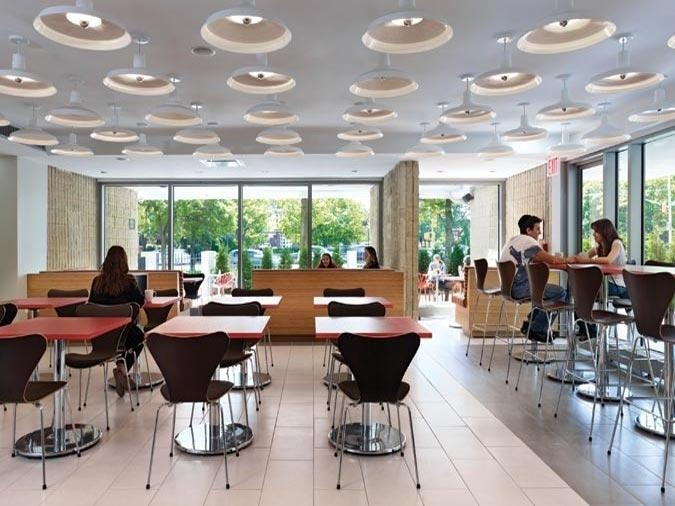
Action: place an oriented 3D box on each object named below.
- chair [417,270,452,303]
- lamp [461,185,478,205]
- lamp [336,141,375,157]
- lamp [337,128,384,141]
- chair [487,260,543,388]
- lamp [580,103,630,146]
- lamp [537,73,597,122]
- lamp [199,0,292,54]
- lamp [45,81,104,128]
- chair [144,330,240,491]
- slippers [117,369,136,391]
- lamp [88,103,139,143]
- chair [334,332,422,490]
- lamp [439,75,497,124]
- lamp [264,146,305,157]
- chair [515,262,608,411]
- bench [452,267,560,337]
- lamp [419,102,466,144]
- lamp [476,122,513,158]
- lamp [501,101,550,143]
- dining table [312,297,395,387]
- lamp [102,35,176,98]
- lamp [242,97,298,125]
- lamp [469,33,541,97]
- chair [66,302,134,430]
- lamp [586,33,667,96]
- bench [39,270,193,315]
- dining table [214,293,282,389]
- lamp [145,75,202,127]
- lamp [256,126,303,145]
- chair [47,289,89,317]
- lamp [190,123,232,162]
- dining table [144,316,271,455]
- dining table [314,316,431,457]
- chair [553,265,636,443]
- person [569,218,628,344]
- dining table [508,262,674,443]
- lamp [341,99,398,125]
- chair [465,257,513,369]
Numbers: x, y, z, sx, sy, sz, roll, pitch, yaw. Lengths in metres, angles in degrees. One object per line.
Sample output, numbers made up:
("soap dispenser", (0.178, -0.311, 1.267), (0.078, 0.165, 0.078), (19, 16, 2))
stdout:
("chair", (2.317, 0.777, 12.614), (0.655, 0.980, 0.753), (-1, -1, 3))
("lamp", (3.182, -1.383, 12.707), (0.318, 0.410, 0.098), (-3, 10, -18))
("lamp", (0.302, -1.706, 8.604), (0.505, 0.212, 0.497), (4, 10, 25))
("lamp", (0.323, -1.692, 7.461), (0.346, 0.100, 0.364), (-3, -6, 16))
("chair", (2.312, 0.802, 6.679), (0.589, 1.636, 0.598), (-14, -17, 21))
("lamp", (3.758, -1.859, 7.393), (0.443, 0.509, 0.448), (3, 15, 43))
("lamp", (2.894, -2.050, 6.690), (0.592, 0.480, 0.598), (-7, 9, -17))
("lamp", (-0.761, -1.881, 4.375), (0.580, 0.335, 0.556), (7, 11, 37))
("lamp", (-3.265, -1.699, 6.396), (0.661, 0.443, 0.692), (-2, 1, 3))
("chair", (-1.344, 1.274, 4.824), (0.812, 1.291, 1.225), (-3, 10, -16))
("slippers", (-2.479, 1.503, 6.163), (0.216, 0.330, 0.110), (-5, 12, -9))
("lamp", (-3.209, -1.972, 7.566), (0.499, 0.588, 0.500), (-3, 19, -21))
("chair", (0.370, 1.265, 4.883), (0.786, 1.295, 1.170), (0, 9, 2))
("lamp", (1.626, -1.966, 6.574), (0.656, 0.555, 0.626), (0, 3, 33))
("lamp", (-0.848, -1.683, 8.659), (0.547, 0.143, 0.982), (0, 9, 0))
("chair", (2.827, 0.907, 6.113), (0.723, 1.718, 0.681), (-4, 7, 29))
("bench", (2.927, 0.970, 9.268), (2.078, 1.595, 1.159), (0, -3, -2))
("lamp", (1.513, -1.813, 7.562), (0.484, 0.532, 0.462), (1, -2, -32))
("lamp", (2.551, -1.854, 8.512), (0.528, 0.604, 0.517), (-1, 2, -36))
("lamp", (2.724, -1.947, 7.668), (0.575, 0.533, 0.640), (1, 6, 43))
("dining table", (0.198, 1.029, 6.435), (0.898, 1.621, 0.978), (0, 0, -1))
("lamp", (-1.992, -2.002, 5.296), (0.620, 0.672, 0.704), (-10, -8, -21))
("lamp", (-0.802, -1.737, 6.306), (0.609, 0.310, 0.658), (-6, 10, -30))
("lamp", (1.703, -1.985, 5.344), (0.619, 0.512, 0.608), (-4, 4, -42))
("chair", (-2.594, 1.164, 5.645), (0.637, 1.180, 0.635), (1, 2, 23))
("lamp", (3.119, -2.111, 5.733), (0.689, 0.543, 0.733), (3, 37, 27))
("bench", (-3.980, 0.733, 9.742), (2.048, 0.857, 0.634), (-1, 3, -18))
("dining table", (-1.167, 1.121, 7.247), (1.093, 1.154, 1.150), (0, 2, 5))
("lamp", (-2.054, -1.952, 6.566), (0.738, 0.681, 0.725), (-3, 13, -16))
("lamp", (-0.812, -1.603, 7.233), (0.427, 0.168, 0.447), (1, -8, -5))
("chair", (-3.439, 0.630, 6.722), (0.393, 0.432, 0.297), (2, -5, -11))
("lamp", (-2.071, -1.861, 8.673), (0.628, 0.656, 0.639), (-1, -11, 0))
("dining table", (-1.209, 1.290, 5.147), (1.127, 1.198, 1.184), (1, 1, 6))
("dining table", (0.312, 1.269, 5.354), (1.122, 1.162, 1.175), (0, -3, -2))
("chair", (2.789, 0.950, 5.611), (0.619, 1.610, 0.687), (-3, 4, 2))
("person", (3.392, 0.252, 6.750), (0.725, 1.391, 0.530), (-5, -1, -7))
("dining table", (3.025, 0.880, 6.401), (1.550, 2.495, 1.473), (3, -3, -14))
("lamp", (0.379, -1.668, 6.251), (0.419, 0.197, 0.436), (1, -5, -11))
("chair", (2.378, 0.819, 7.930), (0.684, 1.549, 0.703), (3, 3, 21))
